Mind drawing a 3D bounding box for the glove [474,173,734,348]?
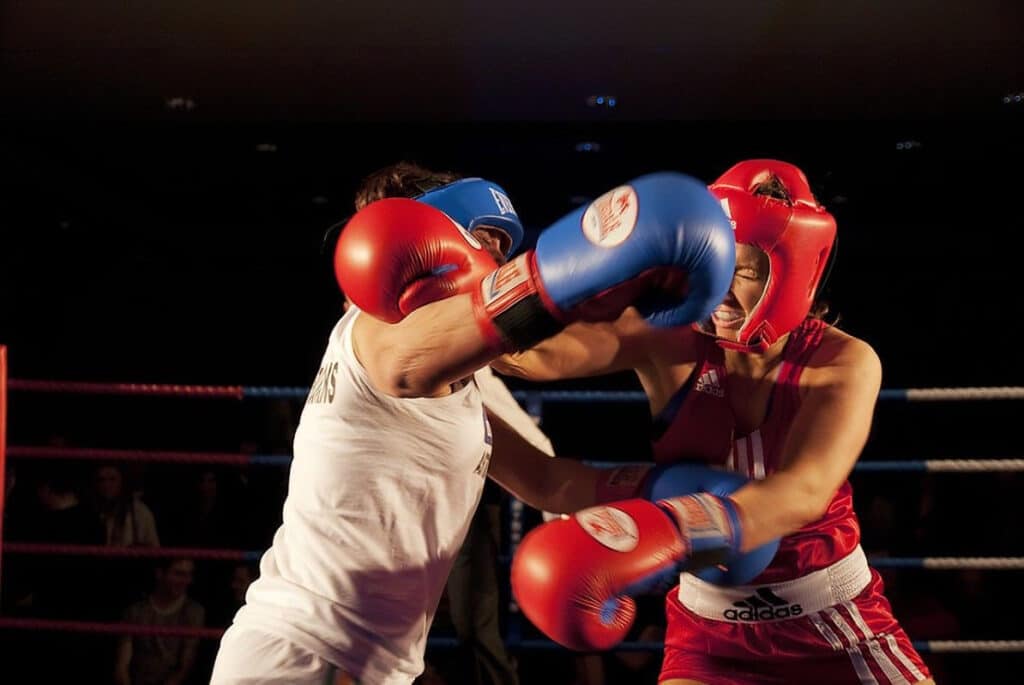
[{"bbox_3d":[0.483,-0.310,5.402,1.290,0.707,0.518,-30,-9,8],"label":"glove"}]

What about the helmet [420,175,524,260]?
[{"bbox_3d":[-0.117,-0.702,5.770,0.423,0.451,0.531,-19,0,-23],"label":"helmet"}]

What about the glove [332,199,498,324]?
[{"bbox_3d":[-0.613,-0.473,5.498,0.944,0.376,0.687,-2,-1,-42],"label":"glove"}]
